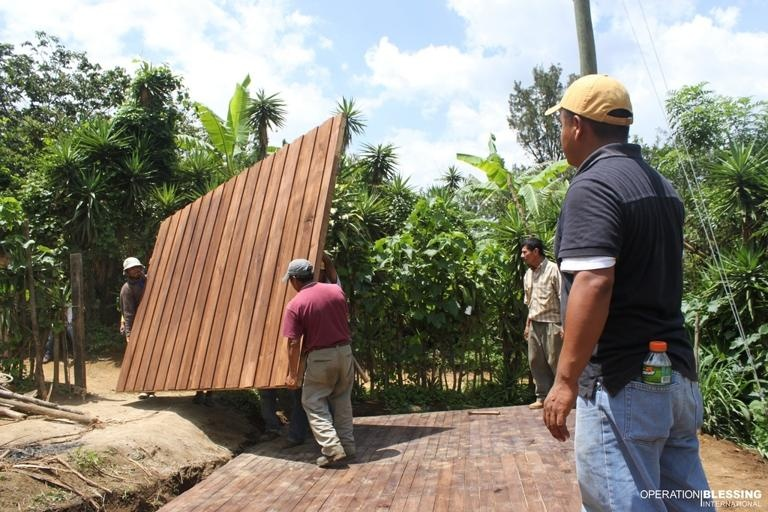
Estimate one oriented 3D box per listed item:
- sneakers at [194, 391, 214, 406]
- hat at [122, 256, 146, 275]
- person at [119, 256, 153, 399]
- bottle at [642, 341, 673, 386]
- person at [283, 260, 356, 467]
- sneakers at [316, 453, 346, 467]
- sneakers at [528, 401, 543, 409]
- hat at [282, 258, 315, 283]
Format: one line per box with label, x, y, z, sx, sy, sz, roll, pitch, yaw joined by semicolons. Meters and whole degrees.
sneakers;-2.727;2.167;8.661;0.224;0.283;0.250;0;15;-6
hat;-4.452;0.166;10.132;0.369;0.203;0.322;-26;-14;37
person;-3.953;0.702;8.994;0.421;1.336;0.786;-5;5;-26
bottle;1.814;0.719;3.795;0.203;0.293;0.057;-3;5;-7
person;-0.747;1.219;6.647;0.803;2.364;0.712;-3;5;-9
sneakers;-0.583;2.318;6.510;0.354;0.188;0.136;3;-2;-3
sneakers;2.145;2.114;8.070;0.220;0.163;0.089;0;-3;8
hat;-1.024;0.163;6.767;0.308;0.192;0.220;-8;0;43
